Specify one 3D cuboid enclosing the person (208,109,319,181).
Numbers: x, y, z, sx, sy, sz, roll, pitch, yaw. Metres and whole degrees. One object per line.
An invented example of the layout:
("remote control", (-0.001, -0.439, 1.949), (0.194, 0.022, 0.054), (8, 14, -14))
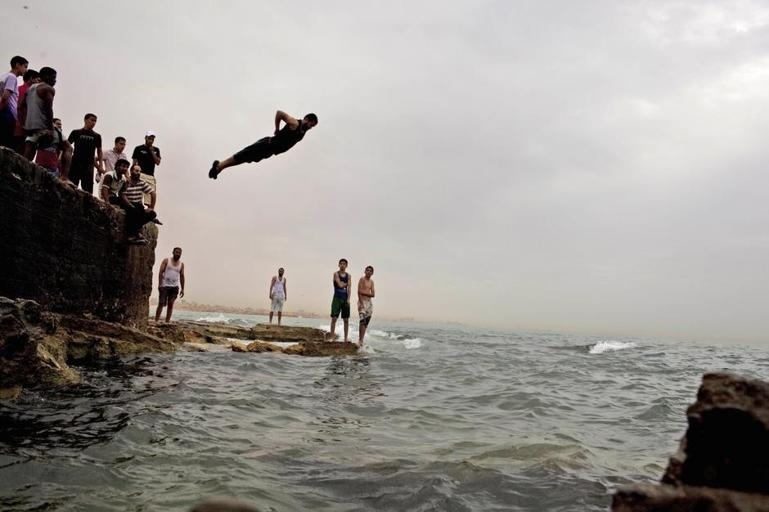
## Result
("person", (-2.253, -2.172, 9.931), (1.746, 1.129, 0.649), (4, -2, 32))
